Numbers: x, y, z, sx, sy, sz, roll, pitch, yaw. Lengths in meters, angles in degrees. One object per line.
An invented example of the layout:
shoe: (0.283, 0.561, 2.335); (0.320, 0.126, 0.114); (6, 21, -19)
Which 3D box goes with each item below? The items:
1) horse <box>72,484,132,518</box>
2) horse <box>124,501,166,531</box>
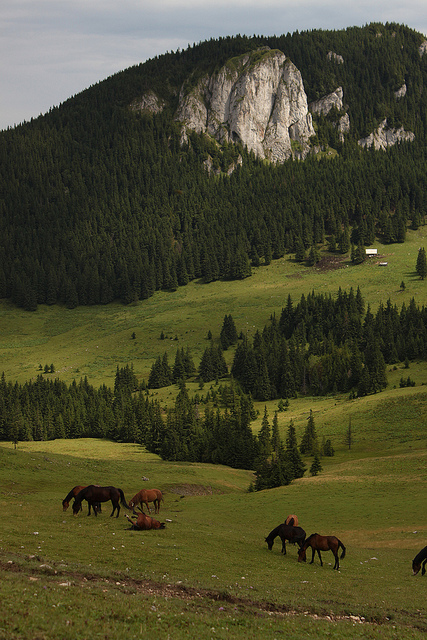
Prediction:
horse: (-10.867, 17.110, 109.055); (4.891, 3.122, 1.457); (1, 5, -13)
horse: (-6.386, 18.823, 108.600); (3.438, 1.493, 2.485); (1, 6, -15)
